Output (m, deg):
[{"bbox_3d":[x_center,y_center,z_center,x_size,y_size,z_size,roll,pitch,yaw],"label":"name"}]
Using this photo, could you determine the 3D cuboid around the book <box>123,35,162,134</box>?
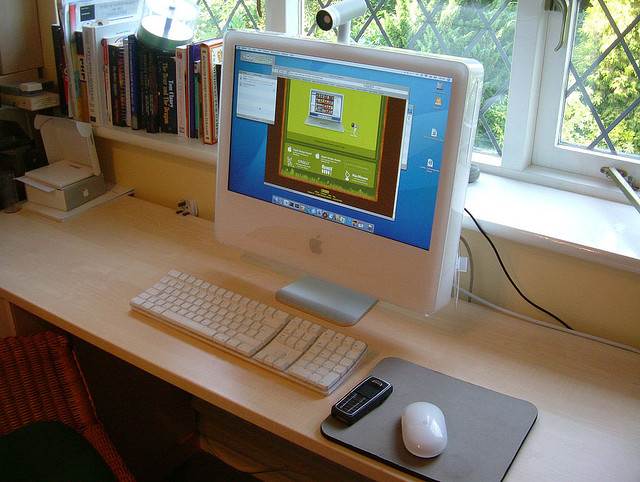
[{"bbox_3d":[-0.581,-0.508,1.604,0.141,0.291,0.056,20,33,25],"label":"book"}]

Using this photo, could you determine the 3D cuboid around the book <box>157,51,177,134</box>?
[{"bbox_3d":[-0.494,-0.482,1.591,0.081,0.261,0.033,16,31,19],"label":"book"}]

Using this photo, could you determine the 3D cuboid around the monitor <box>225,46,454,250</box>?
[{"bbox_3d":[0.046,-0.228,1.121,0.625,0.417,0.184,19,35,28],"label":"monitor"}]

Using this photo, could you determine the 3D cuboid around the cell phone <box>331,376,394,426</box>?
[{"bbox_3d":[0.078,0.301,0.929,0.056,0.027,0.104,25,43,35],"label":"cell phone"}]

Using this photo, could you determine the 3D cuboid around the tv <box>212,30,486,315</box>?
[{"bbox_3d":[0.056,-0.135,1.093,0.583,0.492,0.206,21,34,22],"label":"tv"}]

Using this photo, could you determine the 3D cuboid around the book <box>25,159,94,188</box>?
[{"bbox_3d":[-0.862,-0.231,1.627,0.191,0.022,0.158,18,32,21],"label":"book"}]

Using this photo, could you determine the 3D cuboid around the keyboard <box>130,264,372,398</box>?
[{"bbox_3d":[-0.150,0.193,1.085,0.562,0.062,0.188,19,40,29],"label":"keyboard"}]

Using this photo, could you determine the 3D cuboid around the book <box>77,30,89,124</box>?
[{"bbox_3d":[-0.798,-0.567,1.642,0.030,0.292,0.225,-6,22,-22],"label":"book"}]

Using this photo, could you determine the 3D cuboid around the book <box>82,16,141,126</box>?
[{"bbox_3d":[-0.724,-0.584,1.759,0.029,0.266,0.293,17,31,10],"label":"book"}]

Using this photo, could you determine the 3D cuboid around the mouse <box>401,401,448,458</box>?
[{"bbox_3d":[0.189,0.325,0.875,0.082,0.038,0.119,-1,24,4],"label":"mouse"}]

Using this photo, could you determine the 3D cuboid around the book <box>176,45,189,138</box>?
[{"bbox_3d":[-0.440,-0.471,1.555,0.047,0.281,0.019,12,30,12],"label":"book"}]
